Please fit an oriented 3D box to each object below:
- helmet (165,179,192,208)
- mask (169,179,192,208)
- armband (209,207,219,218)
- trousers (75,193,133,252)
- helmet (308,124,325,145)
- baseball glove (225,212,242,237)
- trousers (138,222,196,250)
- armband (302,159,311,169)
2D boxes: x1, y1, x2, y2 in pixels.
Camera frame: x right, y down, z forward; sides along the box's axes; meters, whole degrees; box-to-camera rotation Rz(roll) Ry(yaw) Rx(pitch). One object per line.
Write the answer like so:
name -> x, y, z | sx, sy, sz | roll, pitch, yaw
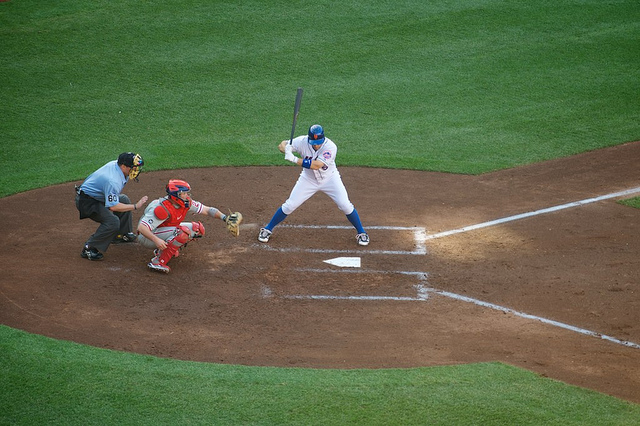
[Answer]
helmet -> -2.724, -0.295, 15.523 | 0.549, 0.366, 0.383 | 8, 74, 12
mask -> -2.707, -0.385, 15.537 | 0.562, 0.398, 0.369 | 13, 15, 10
armband -> -2.113, -0.022, 15.896 | 0.142, 0.151, 0.173 | 11, 11, -40
trousers -> -4.077, 0.195, 15.811 | 0.571, 1.039, 1.076 | 16, 36, 26
helmet -> -0.104, -1.549, 15.979 | 0.335, 0.210, 0.356 | -2, 69, 3
baseball glove -> -1.741, 0.289, 15.955 | 0.318, 0.578, 0.250 | 5, 60, -1
trousers -> -3.000, 0.521, 15.677 | 1.152, 0.721, 0.413 | 3, 34, 9
armband -> -0.284, -0.965, 16.014 | 0.168, 0.188, 0.134 | -4, 33, -1
